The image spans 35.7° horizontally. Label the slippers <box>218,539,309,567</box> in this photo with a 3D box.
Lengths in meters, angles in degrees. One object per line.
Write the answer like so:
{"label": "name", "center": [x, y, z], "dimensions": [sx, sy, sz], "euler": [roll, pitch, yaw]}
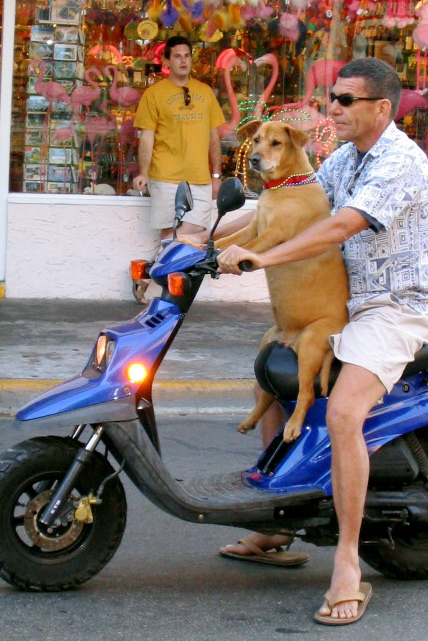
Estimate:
{"label": "slippers", "center": [0.209, 0.968, 2.768], "dimensions": [0.374, 0.091, 0.158], "euler": [3, -5, 14]}

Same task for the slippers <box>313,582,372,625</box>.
{"label": "slippers", "center": [0.428, 0.885, 2.118], "dimensions": [0.097, 0.052, 0.242], "euler": [0, 1, 27]}

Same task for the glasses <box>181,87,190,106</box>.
{"label": "glasses", "center": [-0.335, -2.737, 8.060], "dimensions": [0.058, 0.167, 0.130], "euler": [-6, 22, 16]}
